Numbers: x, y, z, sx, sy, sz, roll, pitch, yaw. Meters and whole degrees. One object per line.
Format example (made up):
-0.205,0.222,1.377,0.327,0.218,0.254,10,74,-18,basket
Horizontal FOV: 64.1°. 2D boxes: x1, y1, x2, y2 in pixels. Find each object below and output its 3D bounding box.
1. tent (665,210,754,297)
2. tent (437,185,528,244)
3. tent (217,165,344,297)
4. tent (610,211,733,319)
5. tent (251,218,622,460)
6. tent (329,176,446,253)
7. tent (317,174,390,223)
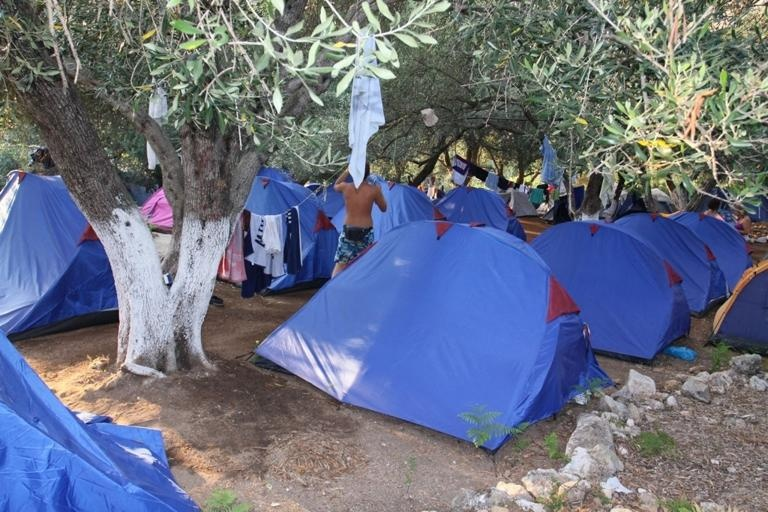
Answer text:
6.130,0.138,11.543,1.549,0.812,1.546,-19,27,-34,tent
2.268,-1.082,14.476,1.447,0.720,1.857,3,15,-10,tent
-1.833,-0.375,10.236,1.973,1.035,1.945,-11,17,-41,tent
5.023,0.031,10.456,1.720,1.030,2.001,-17,29,-27,tent
0.928,0.946,7.492,2.829,1.486,2.826,19,27,31,tent
0.190,-0.923,11.721,1.608,0.791,1.575,-21,27,-40,tent
-0.470,-0.892,9.813,0.944,0.543,0.933,-17,26,-37,tent
